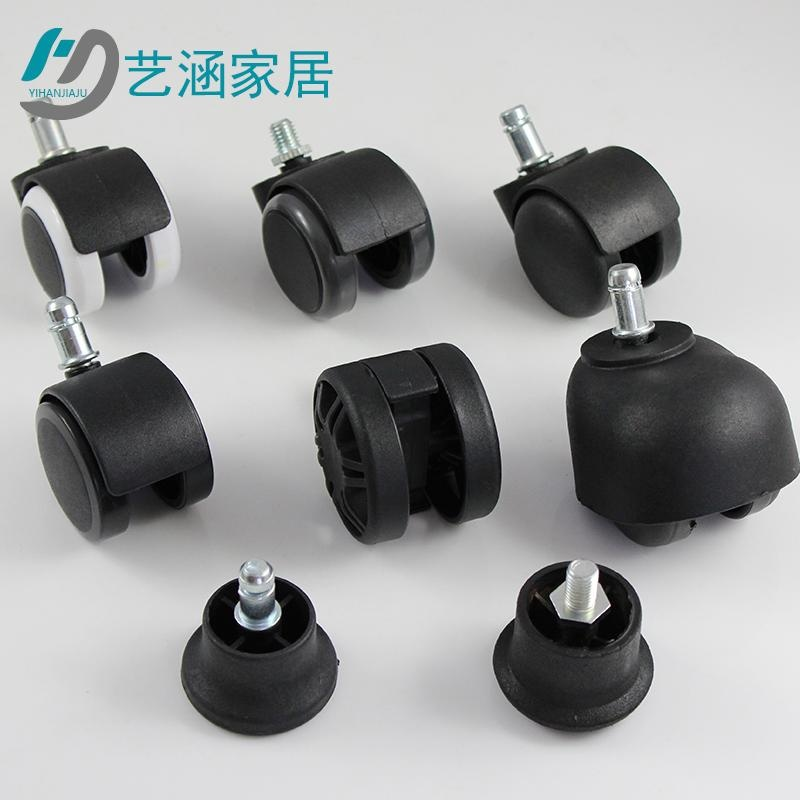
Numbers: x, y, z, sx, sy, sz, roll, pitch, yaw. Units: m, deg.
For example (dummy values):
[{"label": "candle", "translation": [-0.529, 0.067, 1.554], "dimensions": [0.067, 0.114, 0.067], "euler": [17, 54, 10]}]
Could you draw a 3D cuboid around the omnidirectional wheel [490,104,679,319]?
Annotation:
[{"label": "omnidirectional wheel", "translation": [0.459, -0.512, 2.127], "dimensions": [0.388, 0.361, 0.511], "euler": [-35, 49, -20]}]

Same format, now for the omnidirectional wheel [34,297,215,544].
[{"label": "omnidirectional wheel", "translation": [-0.571, 0.033, 1.582], "dimensions": [0.339, 0.433, 0.335], "euler": [0, 21, 0]}]

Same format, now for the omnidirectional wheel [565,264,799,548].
[{"label": "omnidirectional wheel", "translation": [0.535, 0.027, 1.591], "dimensions": [0.376, 0.538, 0.424], "euler": [-22, 33, -23]}]

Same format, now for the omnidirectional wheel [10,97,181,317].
[{"label": "omnidirectional wheel", "translation": [-0.813, -0.521, 2.058], "dimensions": [0.384, 0.511, 0.314], "euler": [-27, 18, -33]}]

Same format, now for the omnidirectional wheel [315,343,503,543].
[{"label": "omnidirectional wheel", "translation": [0.009, 0.105, 1.588], "dimensions": [0.323, 0.393, 0.295], "euler": [-6, 30, 3]}]
